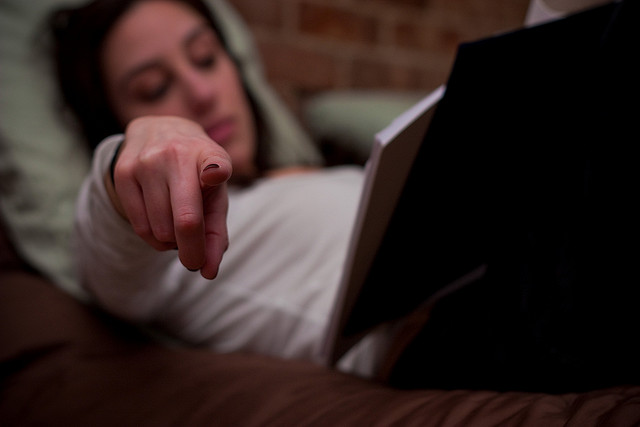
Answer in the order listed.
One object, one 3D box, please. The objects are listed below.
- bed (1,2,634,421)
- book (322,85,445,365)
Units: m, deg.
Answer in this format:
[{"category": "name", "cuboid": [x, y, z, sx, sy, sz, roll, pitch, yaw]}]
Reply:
[{"category": "bed", "cuboid": [-0.021, 0.005, 0.642, 0.442, 0.403, 0.431, -1, 1, -35]}, {"category": "book", "cuboid": [0.068, -0.012, 0.617, 0.014, 0.218, 0.148, 23, 21, 21]}]
